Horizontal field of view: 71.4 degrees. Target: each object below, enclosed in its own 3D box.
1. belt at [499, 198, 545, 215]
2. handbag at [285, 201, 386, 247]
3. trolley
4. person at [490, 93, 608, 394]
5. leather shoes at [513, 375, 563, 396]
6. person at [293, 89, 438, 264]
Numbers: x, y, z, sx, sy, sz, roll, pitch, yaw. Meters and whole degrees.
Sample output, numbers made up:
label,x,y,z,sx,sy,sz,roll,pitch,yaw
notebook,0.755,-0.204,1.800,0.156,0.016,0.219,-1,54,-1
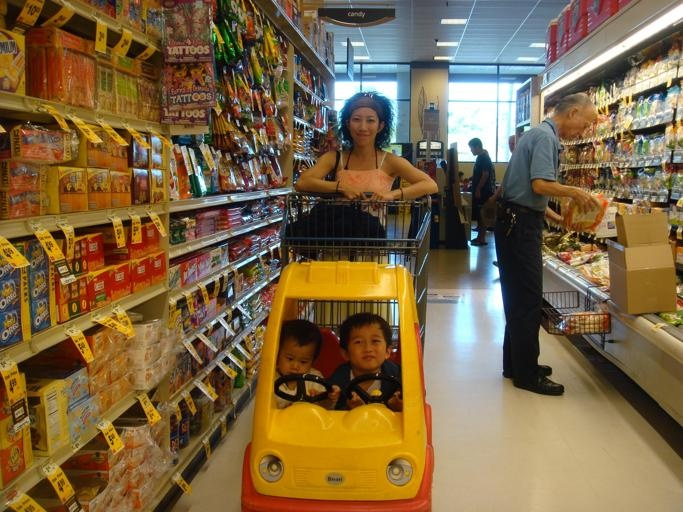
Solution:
label,x,y,z,sx,sy,sz,roll,pitch,yaw
belt,1.308,-0.355,3.465,0.308,0.103,0.124,5,10,28
handbag,-0.049,-0.153,2.373,0.383,0.256,0.150,-5,-22,22
trolley,0.176,0.131,2.624,0.924,1.069,0.609,4,0,6
person,1.491,-0.102,3.544,0.657,2.144,0.496,3,9,19
leather shoes,1.472,0.955,3.525,0.295,0.134,0.129,1,6,18
person,0.078,-0.438,2.728,0.567,1.202,0.723,2,-5,44
